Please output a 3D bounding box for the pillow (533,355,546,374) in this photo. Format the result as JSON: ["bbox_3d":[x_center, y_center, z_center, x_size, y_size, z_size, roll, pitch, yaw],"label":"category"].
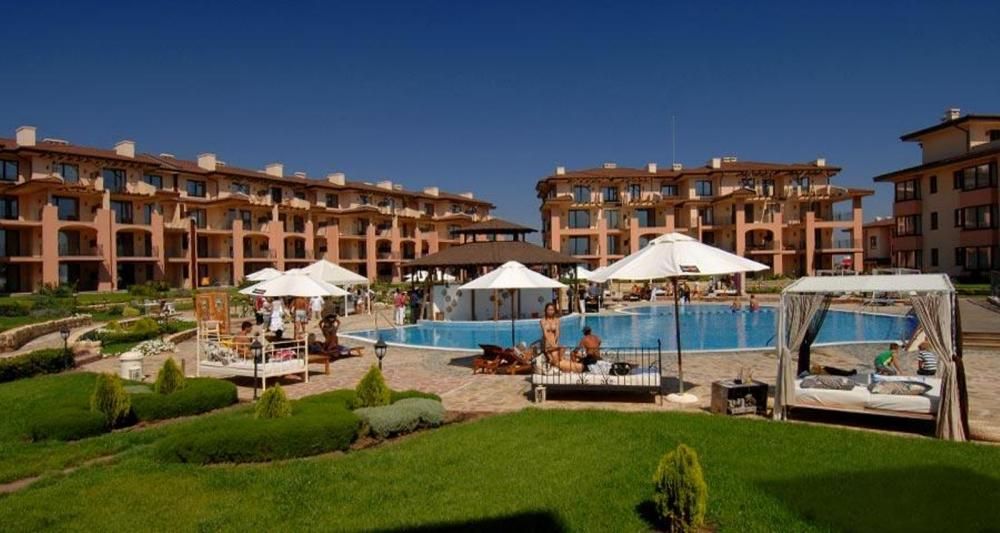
[{"bbox_3d":[1.599,3.917,28.302,0.658,0.591,0.234,0,-14,4],"label":"pillow"}]

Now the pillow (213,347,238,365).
[{"bbox_3d":[-11.803,3.774,30.198,0.732,0.371,1.033,-1,-8,44],"label":"pillow"}]

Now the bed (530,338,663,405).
[{"bbox_3d":[4.702,4.094,28.646,4.323,1.529,2.882,0,0,17],"label":"bed"}]
